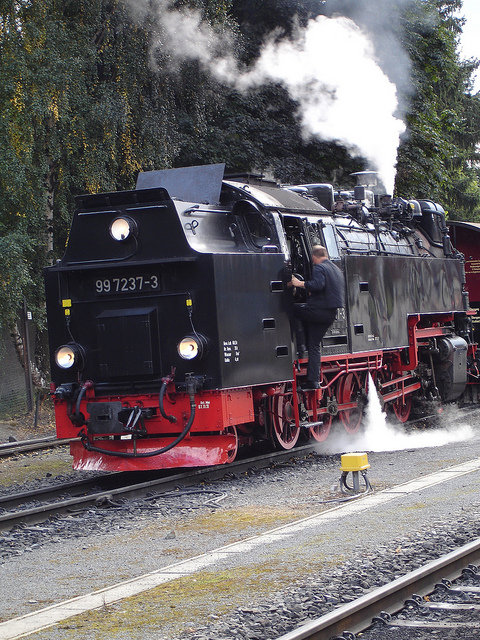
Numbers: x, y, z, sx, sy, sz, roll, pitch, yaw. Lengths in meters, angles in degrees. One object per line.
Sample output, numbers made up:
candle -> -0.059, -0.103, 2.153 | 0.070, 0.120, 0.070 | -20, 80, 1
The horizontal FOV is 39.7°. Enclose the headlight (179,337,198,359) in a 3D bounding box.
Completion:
headlight -> -0.534, 0.293, 6.981 | 0.207, 0.196, 0.049 | -22, -8, 36

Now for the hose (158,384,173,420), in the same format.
hose -> -0.786, 0.867, 7.012 | 0.131, 0.375, 0.165 | -4, -5, -8

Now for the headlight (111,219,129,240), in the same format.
headlight -> -1.314, -0.993, 7.287 | 0.219, 0.205, 0.078 | 8, 10, 29

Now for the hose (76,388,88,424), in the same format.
hose -> -1.764, 0.940, 7.280 | 0.082, 0.301, 0.261 | 1, -9, 0

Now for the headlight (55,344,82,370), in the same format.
headlight -> -1.956, 0.425, 7.547 | 0.194, 0.276, 0.377 | 0, -6, -41
